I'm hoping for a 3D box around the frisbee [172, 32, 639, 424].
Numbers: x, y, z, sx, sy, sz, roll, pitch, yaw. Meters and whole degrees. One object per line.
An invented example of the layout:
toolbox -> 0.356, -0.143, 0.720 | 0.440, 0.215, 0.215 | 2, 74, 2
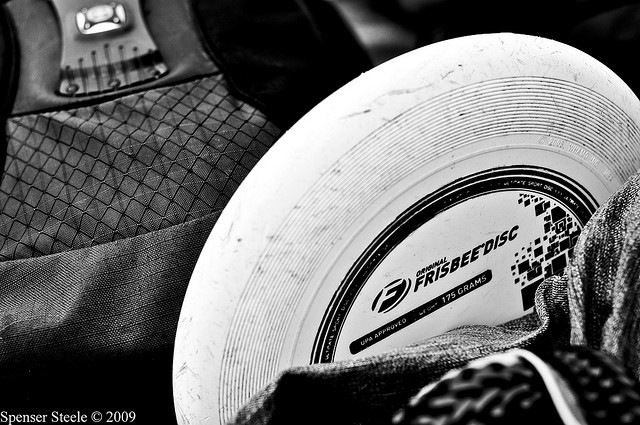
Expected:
frisbee -> 0.104, -0.029, 0.971 | 0.478, 0.473, 0.481 | 40, -83, -23
